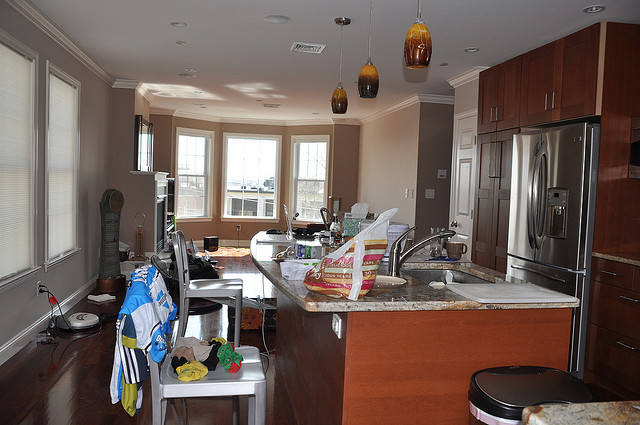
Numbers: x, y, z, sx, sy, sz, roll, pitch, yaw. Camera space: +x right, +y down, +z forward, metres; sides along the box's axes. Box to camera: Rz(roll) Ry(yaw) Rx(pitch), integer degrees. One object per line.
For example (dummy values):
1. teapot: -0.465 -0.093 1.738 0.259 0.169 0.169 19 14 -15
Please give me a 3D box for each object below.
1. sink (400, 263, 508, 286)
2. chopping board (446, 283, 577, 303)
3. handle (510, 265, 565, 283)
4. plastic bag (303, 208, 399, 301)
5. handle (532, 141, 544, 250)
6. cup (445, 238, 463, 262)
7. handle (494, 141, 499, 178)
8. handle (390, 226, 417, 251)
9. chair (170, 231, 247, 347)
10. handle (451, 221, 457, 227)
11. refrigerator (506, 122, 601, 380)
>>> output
1. sink: 0.979 0.481 3.236 0.703 0.139 0.278 5 8 26
2. chopping board: 1.148 0.487 2.631 0.725 0.066 0.301 0 7 -11
3. handle: 2.146 0.607 4.218 0.175 0.118 0.242 3 1 -18
4. plastic bag: 0.159 0.223 2.457 0.370 0.494 0.439 7 2 -1
5. handle: 2.245 -0.163 4.413 0.037 1.237 0.295 -1 -28 30
6. cup: 1.102 0.319 3.556 0.122 0.143 0.258 2 7 6
7. handle: 2.143 -0.651 5.273 0.037 0.443 0.106 3 8 16
8. handle: 0.595 0.182 3.077 0.095 0.104 0.313 4 15 36
9. chair: -1.009 0.681 4.008 0.687 0.939 0.594 2 2 0
10. handle: 1.960 0.169 6.331 0.076 0.103 0.244 -2 -4 -1
11. refrigerator: 2.606 0.514 4.545 0.863 2.687 1.175 1 4 -9
